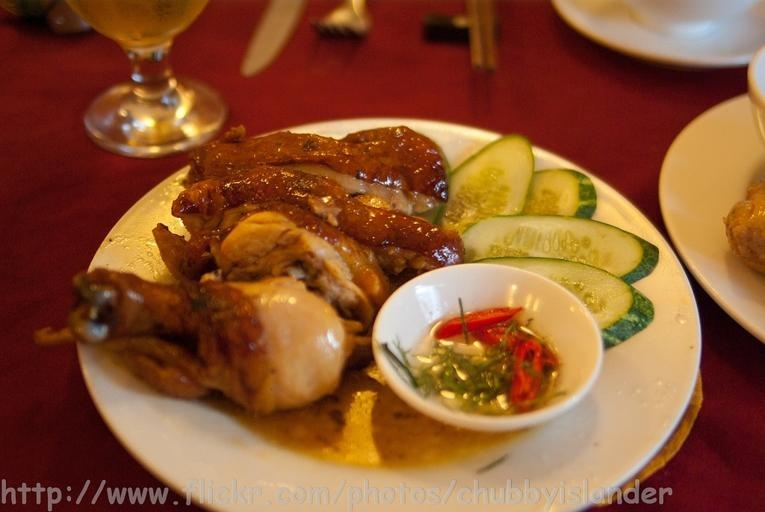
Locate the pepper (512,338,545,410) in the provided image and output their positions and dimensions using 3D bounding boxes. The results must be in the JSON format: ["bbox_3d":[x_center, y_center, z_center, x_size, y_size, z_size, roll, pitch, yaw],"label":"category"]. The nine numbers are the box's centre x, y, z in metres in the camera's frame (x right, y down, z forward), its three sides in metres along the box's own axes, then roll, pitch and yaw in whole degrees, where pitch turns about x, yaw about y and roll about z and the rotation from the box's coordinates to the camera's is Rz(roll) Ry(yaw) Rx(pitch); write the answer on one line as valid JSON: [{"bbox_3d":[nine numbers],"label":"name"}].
[{"bbox_3d":[0.504,0.412,2.352,0.103,0.066,0.209,2,54,14],"label":"pepper"}]
